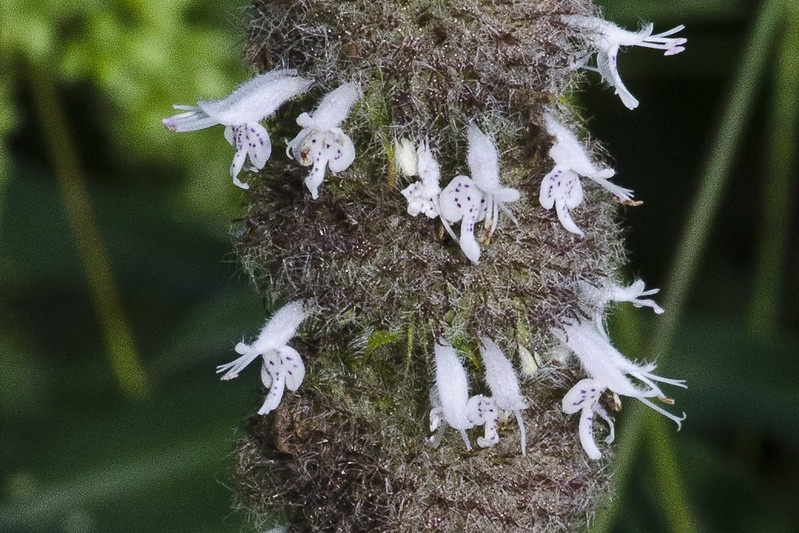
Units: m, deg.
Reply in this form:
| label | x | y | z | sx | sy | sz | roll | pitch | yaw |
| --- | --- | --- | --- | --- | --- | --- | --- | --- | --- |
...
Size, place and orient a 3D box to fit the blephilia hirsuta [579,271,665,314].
| label | x | y | z | sx | sy | sz | roll | pitch | yaw |
| --- | --- | --- | --- | --- | --- | --- | --- | --- | --- |
| blephilia hirsuta | 0.610 | 0.065 | 2.871 | 0.194 | 0.126 | 0.072 | 19 | 15 | -28 |

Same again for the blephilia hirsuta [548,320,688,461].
| label | x | y | z | sx | sy | sz | roll | pitch | yaw |
| --- | --- | --- | --- | --- | --- | --- | --- | --- | --- |
| blephilia hirsuta | 0.560 | 0.359 | 2.856 | 0.415 | 0.159 | 0.287 | 43 | 54 | 13 |

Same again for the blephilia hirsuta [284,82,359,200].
| label | x | y | z | sx | sy | sz | roll | pitch | yaw |
| --- | --- | --- | --- | --- | --- | --- | --- | --- | --- |
| blephilia hirsuta | -0.204 | -0.324 | 2.677 | 0.255 | 0.153 | 0.134 | 25 | 75 | 26 |

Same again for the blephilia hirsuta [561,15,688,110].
| label | x | y | z | sx | sy | sz | roll | pitch | yaw |
| --- | --- | --- | --- | --- | --- | --- | --- | --- | --- |
| blephilia hirsuta | 0.604 | -0.586 | 2.788 | 0.297 | 0.273 | 0.092 | 17 | 69 | 10 |

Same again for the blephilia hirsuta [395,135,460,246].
| label | x | y | z | sx | sy | sz | roll | pitch | yaw |
| --- | --- | --- | --- | --- | --- | --- | --- | --- | --- |
| blephilia hirsuta | 0.074 | -0.197 | 2.699 | 0.132 | 0.262 | 0.112 | -32 | -6 | 16 |

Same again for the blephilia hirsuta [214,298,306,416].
| label | x | y | z | sx | sy | sz | roll | pitch | yaw |
| --- | --- | --- | --- | --- | --- | --- | --- | --- | --- |
| blephilia hirsuta | -0.346 | 0.250 | 2.769 | 0.258 | 0.233 | 0.164 | -17 | 35 | -26 |

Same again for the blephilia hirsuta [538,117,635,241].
| label | x | y | z | sx | sy | sz | roll | pitch | yaw |
| --- | --- | --- | --- | --- | --- | --- | --- | --- | --- |
| blephilia hirsuta | 0.446 | -0.233 | 2.701 | 0.235 | 0.326 | 0.116 | -41 | 35 | -4 |

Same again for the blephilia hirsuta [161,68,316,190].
| label | x | y | z | sx | sy | sz | roll | pitch | yaw |
| --- | --- | --- | --- | --- | --- | --- | --- | --- | --- |
| blephilia hirsuta | -0.418 | -0.350 | 2.770 | 0.223 | 0.391 | 0.183 | 33 | 76 | 11 |

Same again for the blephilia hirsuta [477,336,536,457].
| label | x | y | z | sx | sy | sz | roll | pitch | yaw |
| --- | --- | --- | --- | --- | --- | --- | --- | --- | --- |
| blephilia hirsuta | 0.271 | 0.337 | 2.783 | 0.091 | 0.342 | 0.103 | -18 | -2 | 6 |
